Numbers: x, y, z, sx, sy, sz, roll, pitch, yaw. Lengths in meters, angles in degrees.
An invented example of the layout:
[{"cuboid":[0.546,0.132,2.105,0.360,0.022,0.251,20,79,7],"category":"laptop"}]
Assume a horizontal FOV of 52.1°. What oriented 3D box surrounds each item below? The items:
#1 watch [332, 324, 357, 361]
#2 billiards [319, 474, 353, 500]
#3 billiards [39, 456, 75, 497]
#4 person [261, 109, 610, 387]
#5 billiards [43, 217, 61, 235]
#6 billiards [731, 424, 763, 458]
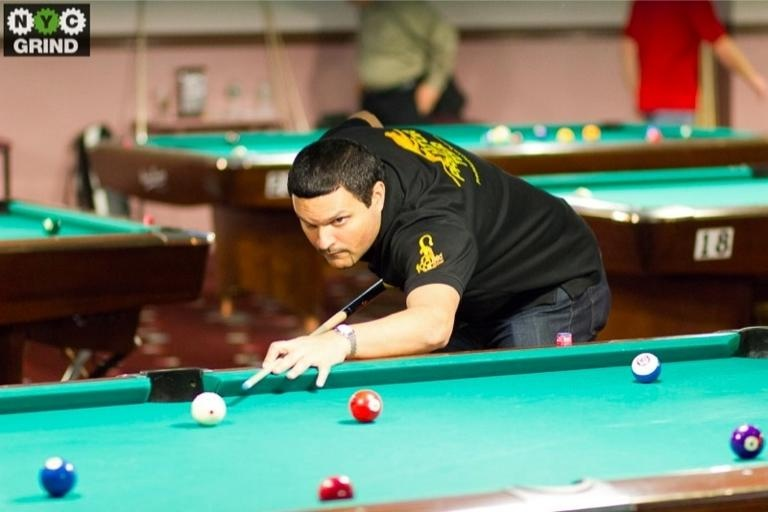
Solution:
[{"cuboid":[-0.110,0.272,2.512,0.071,0.099,0.107,-34,5,-21],"category":"watch"},{"cuboid":[-0.113,0.535,1.855,0.061,0.053,0.058,-5,5,-28],"category":"billiards"},{"cuboid":[-0.776,0.525,1.864,0.055,0.063,0.053,-34,40,0],"category":"billiards"},{"cuboid":[0.228,-0.062,2.991,1.094,1.026,1.758,2,-6,-3],"category":"person"},{"cuboid":[-1.666,-0.150,3.933,0.102,0.073,0.108,-1,-8,-16],"category":"billiards"},{"cuboid":[0.935,0.477,2.021,0.059,0.063,0.056,-23,7,-3],"category":"billiards"}]
